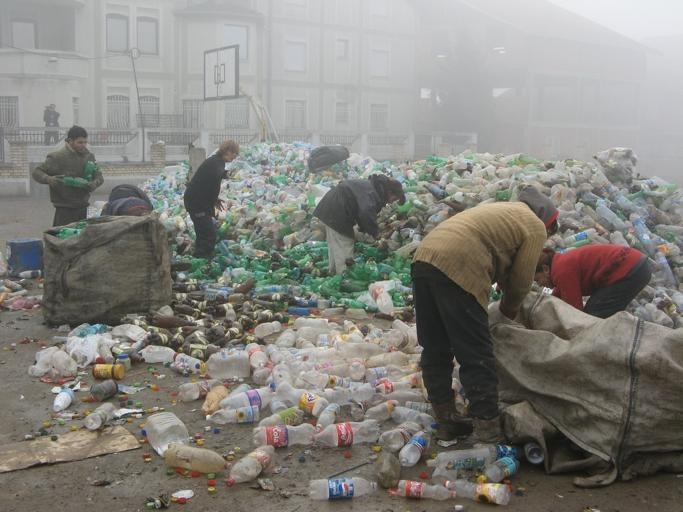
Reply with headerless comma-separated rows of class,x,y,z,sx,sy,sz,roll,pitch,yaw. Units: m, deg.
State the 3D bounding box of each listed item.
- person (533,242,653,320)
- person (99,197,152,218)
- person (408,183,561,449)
person,2.688,0.292,6.962,1.255,0.824,0.833,-11,-16,39
person,-3.137,-0.719,9.517,0.684,0.362,0.904,-3,7,-17
person,1.165,0.593,5.814,1.103,2.146,0.634,2,8,3
